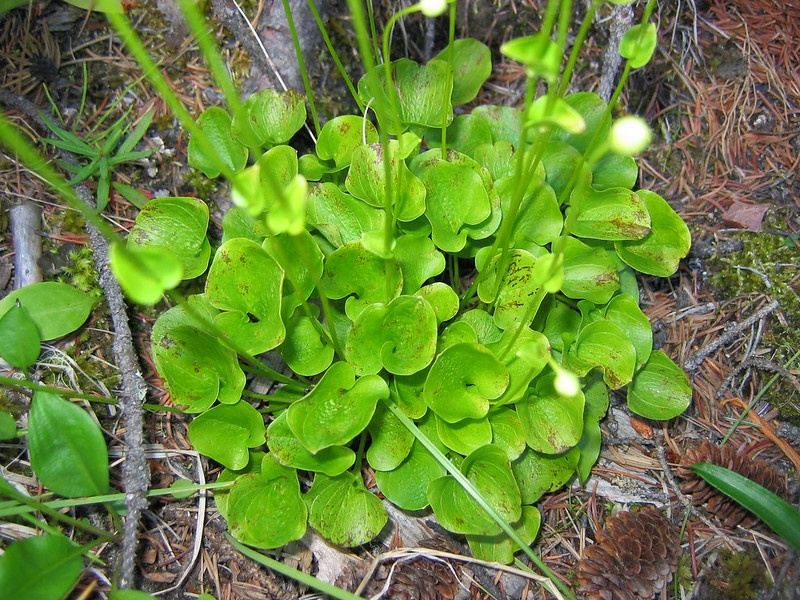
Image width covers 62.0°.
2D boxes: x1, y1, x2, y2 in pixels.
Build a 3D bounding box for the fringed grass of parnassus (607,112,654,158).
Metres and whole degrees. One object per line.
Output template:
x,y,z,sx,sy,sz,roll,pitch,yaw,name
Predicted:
0.598,-0.426,1.726,0.103,0.082,0.092,-21,56,-18,fringed grass of parnassus
